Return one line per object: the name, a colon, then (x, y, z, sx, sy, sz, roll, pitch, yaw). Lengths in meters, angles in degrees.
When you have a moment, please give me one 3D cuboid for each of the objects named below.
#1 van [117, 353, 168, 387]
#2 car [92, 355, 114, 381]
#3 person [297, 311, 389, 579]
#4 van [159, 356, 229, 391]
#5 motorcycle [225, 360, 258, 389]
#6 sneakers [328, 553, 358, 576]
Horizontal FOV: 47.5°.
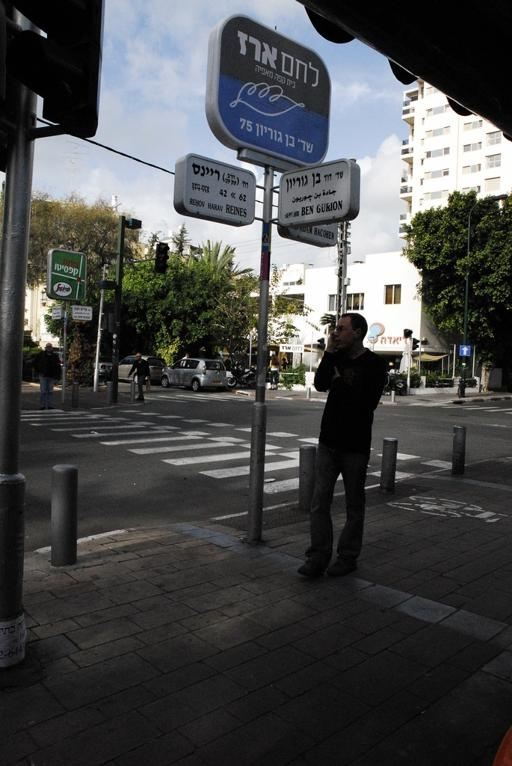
van: (-6.705, -0.488, 33.065, 2.077, 1.772, 3.372, -3, 10, -40)
car: (-8.720, -0.889, 33.770, 1.272, 1.122, 2.902, 0, 5, -5)
person: (0.588, 0.396, 4.062, 0.604, 1.779, 0.526, 1, -1, -7)
van: (-3.048, -0.410, 29.352, 1.630, 1.308, 2.612, 0, 7, -42)
motorcycle: (-0.819, -0.446, 31.501, 1.902, 1.347, 1.238, 1, 0, 5)
sneakers: (0.569, 1.210, 3.897, 0.129, 0.101, 0.232, 1, -1, 30)
